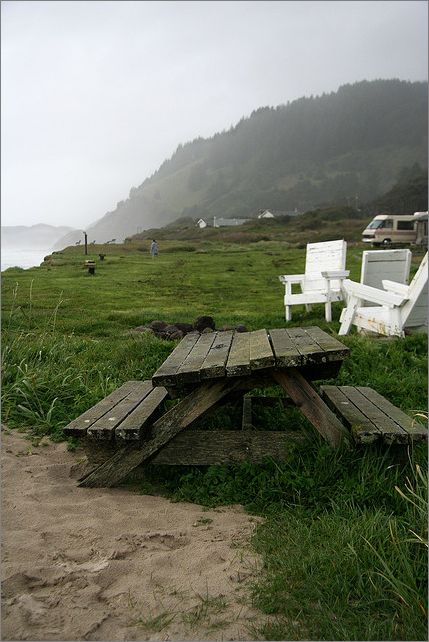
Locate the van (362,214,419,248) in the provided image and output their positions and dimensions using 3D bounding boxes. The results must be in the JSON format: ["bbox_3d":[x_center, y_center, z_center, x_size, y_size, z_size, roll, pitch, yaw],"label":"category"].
[{"bbox_3d":[14.565,-7.920,38.221,3.865,2.174,2.338,0,9,2],"label":"van"}]
